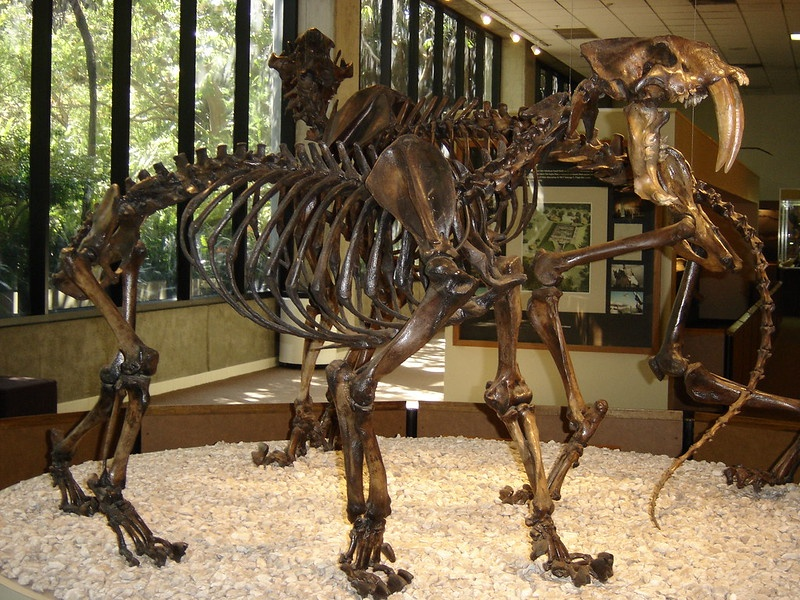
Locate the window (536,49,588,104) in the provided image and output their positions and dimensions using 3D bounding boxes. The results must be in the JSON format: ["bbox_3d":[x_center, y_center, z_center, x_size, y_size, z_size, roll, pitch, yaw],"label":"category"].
[{"bbox_3d":[3.400,-4.818,14.782,0.476,0.914,1.756,4,7,31],"label":"window"}]
